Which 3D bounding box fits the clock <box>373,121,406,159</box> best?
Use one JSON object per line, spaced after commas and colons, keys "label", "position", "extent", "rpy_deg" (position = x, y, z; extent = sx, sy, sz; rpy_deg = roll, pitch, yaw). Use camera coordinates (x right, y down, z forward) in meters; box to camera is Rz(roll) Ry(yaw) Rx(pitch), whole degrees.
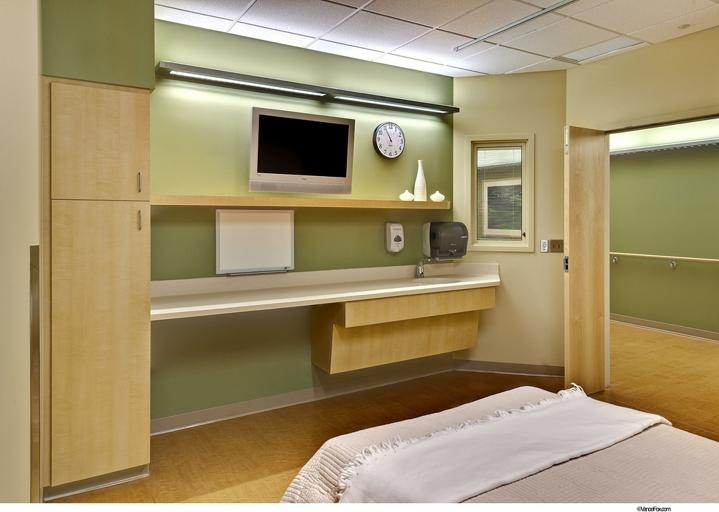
{"label": "clock", "position": [0.270, -1.116, 4.783], "extent": [0.404, 0.380, 0.075], "rpy_deg": [0, -3, -40]}

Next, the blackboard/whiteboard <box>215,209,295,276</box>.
{"label": "blackboard/whiteboard", "position": [-0.876, -0.115, 4.156], "extent": [0.689, 0.560, 0.056], "rpy_deg": [-3, 4, -32]}

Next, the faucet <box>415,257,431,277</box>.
{"label": "faucet", "position": [0.651, 0.112, 5.082], "extent": [0.110, 0.189, 0.270], "rpy_deg": [2, 8, 24]}

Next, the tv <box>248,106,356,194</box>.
{"label": "tv", "position": [-0.520, -0.877, 4.153], "extent": [0.817, 0.565, 0.085], "rpy_deg": [0, 9, -31]}

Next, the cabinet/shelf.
{"label": "cabinet/shelf", "position": [-1.603, 0.152, 3.008], "extent": [0.736, 2.376, 0.234], "rpy_deg": [-4, 8, -21]}

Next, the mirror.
{"label": "mirror", "position": [1.498, -0.619, 5.170], "extent": [0.629, 1.139, 0.245], "rpy_deg": [1, 8, 18]}

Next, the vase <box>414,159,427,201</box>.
{"label": "vase", "position": [0.607, -0.754, 4.938], "extent": [0.122, 0.407, 0.344], "rpy_deg": [0, 7, 9]}

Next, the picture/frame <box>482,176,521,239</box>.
{"label": "picture/frame", "position": [1.527, -0.516, 5.233], "extent": [0.505, 0.689, 0.032], "rpy_deg": [1, 7, 30]}
